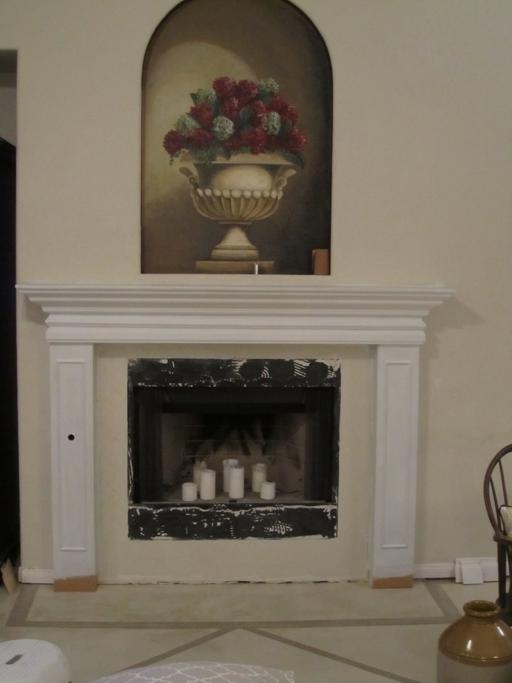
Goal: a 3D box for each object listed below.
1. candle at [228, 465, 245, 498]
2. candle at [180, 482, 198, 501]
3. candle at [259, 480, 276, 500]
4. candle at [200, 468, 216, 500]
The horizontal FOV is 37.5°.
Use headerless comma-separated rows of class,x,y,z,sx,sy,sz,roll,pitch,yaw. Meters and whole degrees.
candle,-0.097,0.700,3.793,0.080,0.149,0.141,0,10,0
candle,-0.327,0.733,3.713,0.081,0.074,0.080,4,8,10
candle,0.064,0.744,3.786,0.081,0.080,0.078,2,-1,-36
candle,-0.243,0.709,3.771,0.082,0.138,0.171,0,10,-4
